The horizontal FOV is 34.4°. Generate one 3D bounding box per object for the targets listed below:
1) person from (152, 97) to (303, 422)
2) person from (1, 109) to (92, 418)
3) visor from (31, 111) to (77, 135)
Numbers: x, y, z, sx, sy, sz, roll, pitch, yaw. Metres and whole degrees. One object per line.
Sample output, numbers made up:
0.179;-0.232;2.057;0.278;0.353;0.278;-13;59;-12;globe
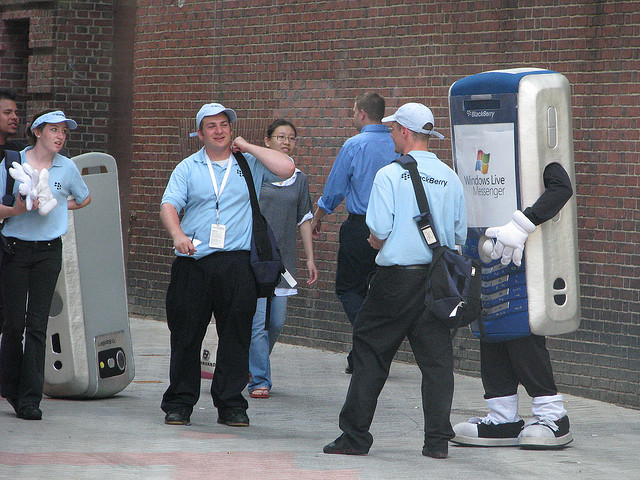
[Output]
-0.761;0.179;7.876;0.893;2.422;0.454;1;4;-15;person
-2.151;0.185;8.006;0.638;2.376;0.540;-1;5;-32;person
-2.039;-0.923;7.972;0.268;0.090;0.186;-11;-4;32;visor
